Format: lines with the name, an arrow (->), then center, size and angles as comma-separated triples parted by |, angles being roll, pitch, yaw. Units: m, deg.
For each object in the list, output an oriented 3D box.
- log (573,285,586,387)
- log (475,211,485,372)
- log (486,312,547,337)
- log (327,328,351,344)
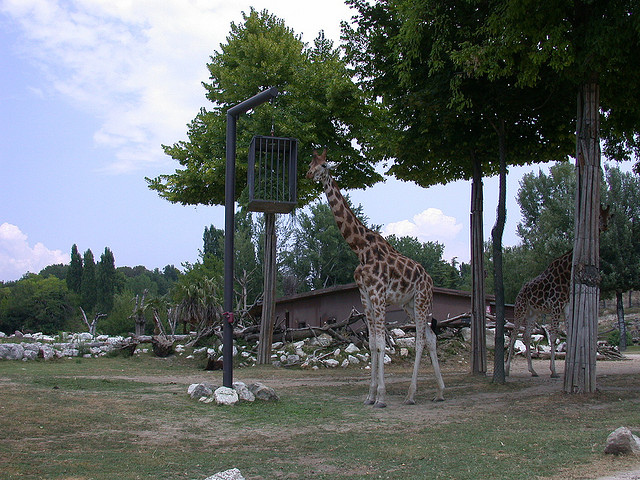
log -> 6.071, 2.230, 15.620 | 0.407, 2.344, 0.071 | -4, -8, 23
log -> 4.902, 1.095, 20.482 | 0.128, 4.040, 0.498 | -3, -7, 14
log -> 8.278, 3.609, 28.234 | 2.428, 0.959, 7.455 | -5, -10, 19
log -> 0.747, 3.656, 25.271 | 0.969, 0.600, 0.256 | -9, -11, 39
